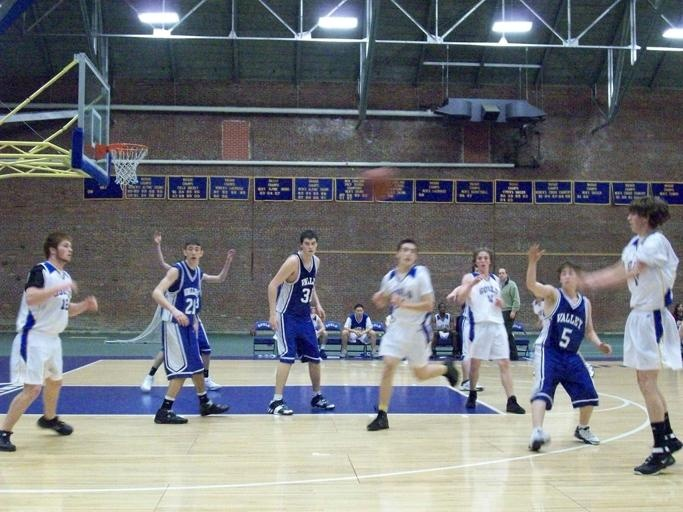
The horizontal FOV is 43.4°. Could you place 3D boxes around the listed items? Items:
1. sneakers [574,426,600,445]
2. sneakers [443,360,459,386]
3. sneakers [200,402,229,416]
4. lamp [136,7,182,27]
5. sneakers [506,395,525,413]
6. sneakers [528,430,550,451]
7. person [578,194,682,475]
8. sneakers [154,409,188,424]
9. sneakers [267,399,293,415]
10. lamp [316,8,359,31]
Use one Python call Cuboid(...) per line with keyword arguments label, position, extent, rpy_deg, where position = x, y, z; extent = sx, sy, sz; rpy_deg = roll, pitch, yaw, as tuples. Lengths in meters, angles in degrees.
Cuboid(label="sneakers", position=(3.065, 2.249, 10.705), extent=(0.368, 0.184, 0.156), rpy_deg=(6, 4, 42))
Cuboid(label="sneakers", position=(1.439, 1.550, 11.335), extent=(0.138, 0.383, 0.169), rpy_deg=(-7, 21, 18))
Cuboid(label="sneakers", position=(-1.752, 2.092, 11.696), extent=(0.421, 0.185, 0.154), rpy_deg=(-2, -2, -5))
Cuboid(label="lamp", position=(-4.088, -5.339, 19.037), extent=(0.826, 0.200, 0.783), rpy_deg=(0, -7, -7))
Cuboid(label="sneakers", position=(2.388, 2.088, 11.854), extent=(0.131, 0.233, 0.353), rpy_deg=(4, -11, -24))
Cuboid(label="sneakers", position=(2.397, 2.238, 10.396), extent=(0.211, 0.302, 0.216), rpy_deg=(1, 2, -2))
Cuboid(label="person", position=(3.558, 0.921, 10.110), extent=(1.010, 3.218, 0.564), rpy_deg=(1, 2, 15))
Cuboid(label="sneakers", position=(-2.291, 2.151, 11.408), extent=(0.469, 0.214, 0.179), rpy_deg=(1, -6, -6))
Cuboid(label="sneakers", position=(-0.853, 2.096, 11.756), extent=(0.397, 0.172, 0.156), rpy_deg=(-8, -12, 35))
Cuboid(label="lamp", position=(-0.023, -5.134, 18.867), extent=(1.099, 0.258, 0.516), rpy_deg=(-3, 6, -41))
